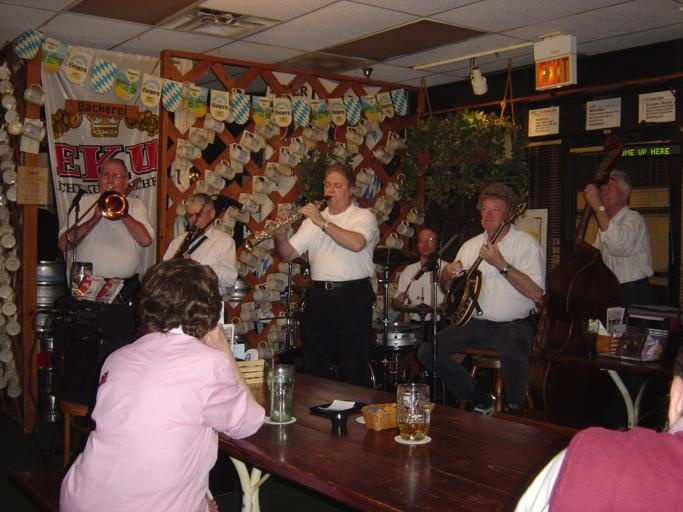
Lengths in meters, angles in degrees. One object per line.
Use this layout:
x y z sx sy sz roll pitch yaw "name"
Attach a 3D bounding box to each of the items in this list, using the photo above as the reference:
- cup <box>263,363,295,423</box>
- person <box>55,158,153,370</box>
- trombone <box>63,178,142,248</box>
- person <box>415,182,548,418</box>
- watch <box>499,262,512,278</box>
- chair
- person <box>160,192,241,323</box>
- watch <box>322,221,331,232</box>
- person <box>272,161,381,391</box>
-0.218 0.496 2.315 0.112 0.216 0.103 4 3 0 "cup"
-1.615 0.145 4.351 0.587 1.618 0.530 0 10 -18 "person"
-1.614 -0.280 4.217 0.353 0.111 0.347 -45 9 -29 "trombone"
0.925 0.310 3.924 0.577 1.677 0.610 0 0 34 "person"
0.992 0.085 3.803 0.059 0.093 0.082 36 16 37 "watch"
1.032 0.586 3.916 0.454 0.808 0.431 8 7 30 "chair"
-0.932 -0.106 4.191 0.477 1.063 0.447 10 7 42 "person"
-0.088 -0.177 3.643 0.063 0.042 0.057 -28 -17 -17 "watch"
-0.092 0.312 3.842 0.653 1.657 0.561 0 7 -4 "person"
